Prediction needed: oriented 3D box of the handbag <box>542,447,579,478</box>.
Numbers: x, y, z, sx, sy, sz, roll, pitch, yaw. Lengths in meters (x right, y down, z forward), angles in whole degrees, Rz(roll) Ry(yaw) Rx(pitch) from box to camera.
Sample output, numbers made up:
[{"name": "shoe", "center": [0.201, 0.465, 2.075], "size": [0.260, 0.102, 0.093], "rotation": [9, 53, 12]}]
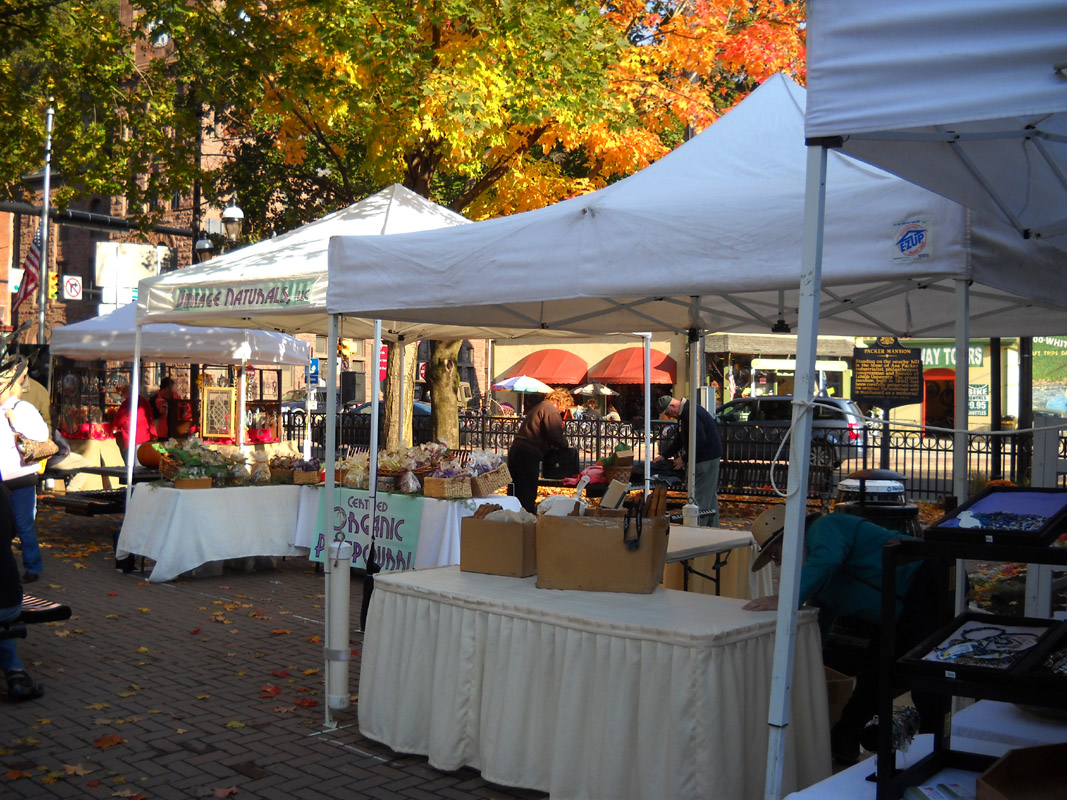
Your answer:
[{"name": "handbag", "center": [0.260, 0.786, 13.069], "size": [0.457, 0.386, 0.679], "rotation": [0, 0, 35]}]

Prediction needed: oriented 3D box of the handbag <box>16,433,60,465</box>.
[{"name": "handbag", "center": [-4.213, 0.413, 8.976], "size": [0.090, 0.233, 0.232], "rotation": [-2, -3, 40]}]

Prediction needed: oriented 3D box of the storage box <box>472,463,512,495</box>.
[{"name": "storage box", "center": [-0.416, 0.725, 9.989], "size": [0.392, 0.251, 0.217], "rotation": [-15, -1, -44]}]

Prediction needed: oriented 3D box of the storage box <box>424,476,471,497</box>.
[{"name": "storage box", "center": [-0.769, 0.777, 9.536], "size": [0.432, 0.200, 0.259], "rotation": [2, -2, -12]}]

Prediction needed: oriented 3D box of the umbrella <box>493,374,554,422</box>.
[{"name": "umbrella", "center": [-0.332, -0.143, 34.412], "size": [1.461, 1.021, 1.425], "rotation": [3, 6, 23]}]

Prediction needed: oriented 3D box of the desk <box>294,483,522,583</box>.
[{"name": "desk", "center": [-1.352, 1.171, 9.970], "size": [1.755, 0.500, 1.057], "rotation": [-1, -1, 34]}]

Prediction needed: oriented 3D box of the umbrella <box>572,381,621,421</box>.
[{"name": "umbrella", "center": [2.027, 0.058, 36.514], "size": [1.335, 0.960, 1.344], "rotation": [-6, 9, -36]}]

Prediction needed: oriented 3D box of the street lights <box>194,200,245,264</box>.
[{"name": "street lights", "center": [-4.801, -2.585, 16.264], "size": [0.661, 0.992, 1.995], "rotation": [2, -2, -21]}]

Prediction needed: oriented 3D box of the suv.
[{"name": "suv", "center": [3.197, 0.474, 14.551], "size": [2.678, 0.993, 1.247], "rotation": [2, -2, 5]}]
